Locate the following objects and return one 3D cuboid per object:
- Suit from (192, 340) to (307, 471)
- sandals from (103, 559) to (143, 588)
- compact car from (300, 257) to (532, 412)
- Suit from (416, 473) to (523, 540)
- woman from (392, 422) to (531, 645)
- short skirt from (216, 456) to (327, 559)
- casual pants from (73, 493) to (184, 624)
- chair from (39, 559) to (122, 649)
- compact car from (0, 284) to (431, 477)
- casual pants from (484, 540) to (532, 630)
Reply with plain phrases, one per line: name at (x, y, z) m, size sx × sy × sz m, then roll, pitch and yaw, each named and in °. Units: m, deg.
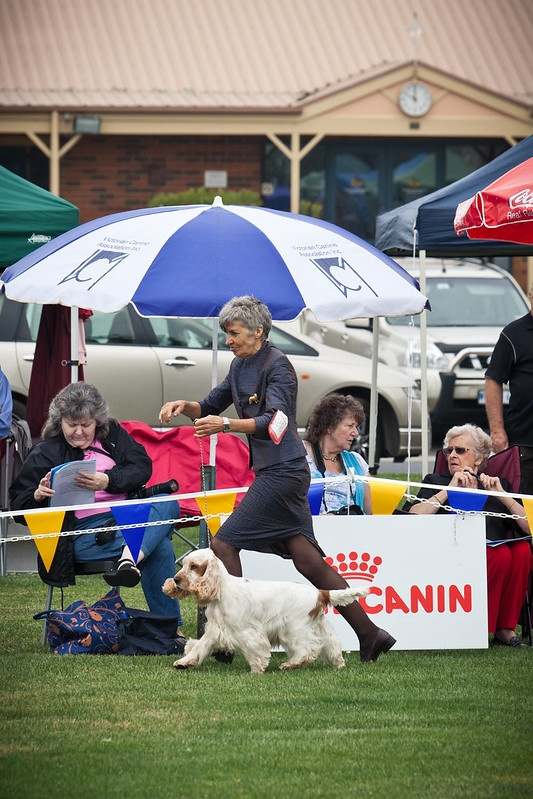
Suit at (-0.068, -0.005, 7.018) m, size 0.505 × 0.666 × 0.714 m, roll -1°, pitch 2°, yaw -35°
sandals at (-0.688, 0.825, 7.241) m, size 0.223 × 0.086 × 0.091 m, roll -14°, pitch 20°, yaw 38°
compact car at (1.899, -0.682, 15.014) m, size 1.304 × 1.316 × 2.382 m, roll 0°, pitch 2°, yaw -24°
Suit at (1.017, 0.495, 7.836) m, size 0.318 × 0.407 × 0.558 m, roll 2°, pitch 1°, yaw 1°
woman at (0.997, 0.699, 7.627) m, size 0.631 × 1.347 × 0.702 m, roll 7°, pitch -33°, yaw -12°
short skirt at (0.015, 0.464, 7.100) m, size 0.429 × 0.447 × 0.370 m, roll 18°, pitch 5°, yaw 12°
casual pants at (-0.678, 0.770, 7.546) m, size 0.537 × 0.155 × 0.657 m, roll -11°, pitch 40°, yaw -8°
chair at (-0.868, 1.005, 7.461) m, size 0.514 × 0.528 × 0.357 m, roll 4°, pitch -3°, yaw -10°
compact car at (-0.431, -0.103, 12.279) m, size 3.175 × 1.211 × 1.359 m, roll 0°, pitch -1°, yaw -11°
casual pants at (1.196, 0.930, 7.564) m, size 0.250 × 0.459 × 0.140 m, roll 0°, pitch 7°, yaw -5°
